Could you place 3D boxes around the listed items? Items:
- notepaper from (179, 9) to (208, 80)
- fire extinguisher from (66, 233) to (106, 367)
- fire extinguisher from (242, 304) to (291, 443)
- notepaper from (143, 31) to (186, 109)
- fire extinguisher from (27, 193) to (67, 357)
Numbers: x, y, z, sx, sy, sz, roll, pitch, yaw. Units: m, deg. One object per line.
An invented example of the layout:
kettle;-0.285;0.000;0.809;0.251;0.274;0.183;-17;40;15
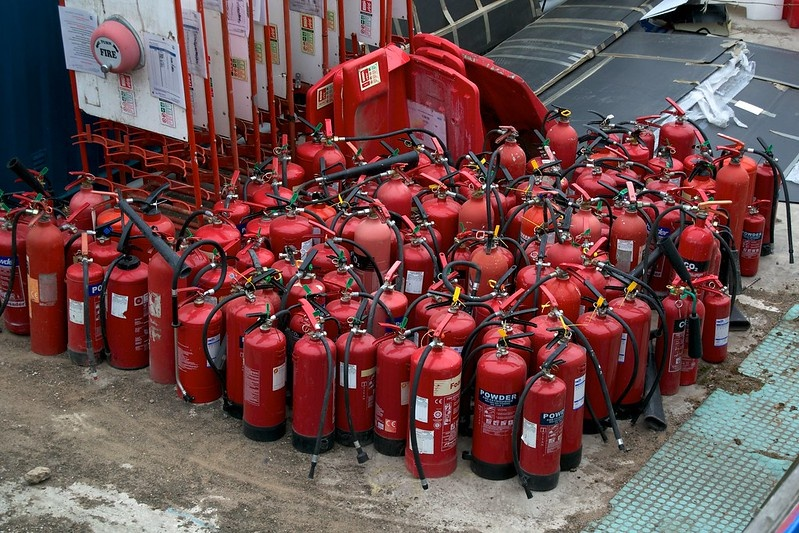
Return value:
notepaper;-1.478;-1.579;5.405;0.050;0.456;0.420;-19;50;-23
fire extinguisher;-2.027;0.235;4.908;0.307;0.915;0.448;1;38;-21
fire extinguisher;-0.792;0.662;4.467;0.279;0.798;0.147;17;21;18
notepaper;-1.665;-1.385;5.371;0.399;0.461;0.053;19;22;27
fire extinguisher;-2.335;0.099;5.008;0.245;0.999;0.277;0;22;-25
